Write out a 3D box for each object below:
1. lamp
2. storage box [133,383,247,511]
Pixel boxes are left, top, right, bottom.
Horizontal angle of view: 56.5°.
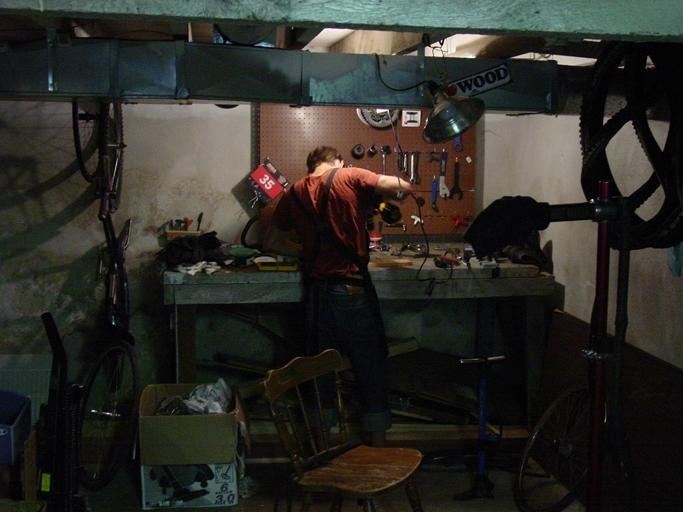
[{"bbox_3d":[0.521,-0.841,3.632,0.283,0.389,0.562,-4,8,-30],"label":"lamp"},{"bbox_3d":[-0.898,1.173,3.976,0.701,0.662,0.695,0,11,-7],"label":"storage box"}]
